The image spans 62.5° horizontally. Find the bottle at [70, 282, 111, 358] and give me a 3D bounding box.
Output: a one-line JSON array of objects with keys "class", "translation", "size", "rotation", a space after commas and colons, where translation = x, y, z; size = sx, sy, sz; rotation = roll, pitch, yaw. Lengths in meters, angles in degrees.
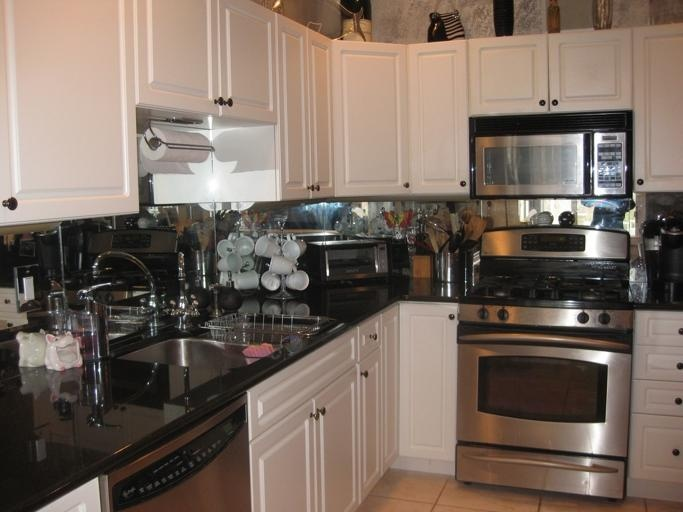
[{"class": "bottle", "translation": [-0.926, 0.251, 2.092], "size": [0.191, 0.265, 0.128], "rotation": [-6, 1, 3]}]

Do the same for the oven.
[{"class": "oven", "translation": [1.084, 0.693, 3.348], "size": [1.092, 1.084, 0.829], "rotation": [0, -1, 22]}]

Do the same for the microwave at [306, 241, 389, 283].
[{"class": "microwave", "translation": [0.060, 0.037, 3.668], "size": [0.636, 0.239, 0.649], "rotation": [-1, 4, 30]}]

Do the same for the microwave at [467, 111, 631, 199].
[{"class": "microwave", "translation": [1.191, -0.576, 3.412], "size": [0.946, 0.482, 0.449], "rotation": [-1, 3, -2]}]

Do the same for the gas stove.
[{"class": "gas stove", "translation": [1.123, 0.257, 3.118], "size": [0.854, 0.241, 0.496], "rotation": [-1, 6, 24]}]

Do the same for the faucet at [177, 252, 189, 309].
[{"class": "faucet", "translation": [-0.747, 0.130, 2.643], "size": [0.059, 0.262, 0.056], "rotation": [-3, -1, -32]}]

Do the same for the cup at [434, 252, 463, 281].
[{"class": "cup", "translation": [0.645, 0.079, 3.461], "size": [0.163, 0.184, 0.161], "rotation": [-1, 9, 0]}]

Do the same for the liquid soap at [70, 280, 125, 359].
[{"class": "liquid soap", "translation": [-0.900, 0.261, 2.065], "size": [0.164, 0.247, 0.120], "rotation": [-6, 6, 12]}]

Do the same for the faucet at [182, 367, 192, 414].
[{"class": "faucet", "translation": [-0.490, 0.433, 1.785], "size": [0.029, 0.163, 0.031], "rotation": [5, 13, 27]}]

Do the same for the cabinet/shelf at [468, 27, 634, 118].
[{"class": "cabinet/shelf", "translation": [1.188, -1.036, 3.360], "size": [0.912, 0.456, 0.315], "rotation": [-2, 5, 4]}]

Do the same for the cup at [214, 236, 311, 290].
[{"class": "cup", "translation": [-0.458, 0.044, 3.203], "size": [0.495, 0.360, 0.339], "rotation": [-4, 5, -14]}]
